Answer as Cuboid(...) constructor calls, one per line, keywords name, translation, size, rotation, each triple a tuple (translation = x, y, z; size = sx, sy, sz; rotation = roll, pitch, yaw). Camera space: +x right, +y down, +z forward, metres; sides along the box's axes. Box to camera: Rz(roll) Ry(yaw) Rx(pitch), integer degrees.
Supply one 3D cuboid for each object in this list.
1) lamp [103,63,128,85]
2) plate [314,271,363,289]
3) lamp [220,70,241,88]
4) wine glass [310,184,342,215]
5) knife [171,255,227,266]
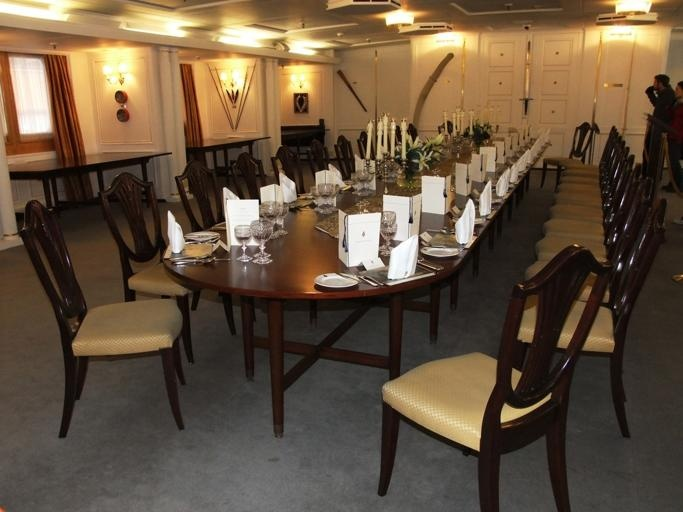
Cuboid(name="lamp", translation=(-3.983, -3.194, 9.128), size=(0.559, 0.357, 0.119), rotation=(7, 21, 30))
Cuboid(name="plate", translation=(-0.024, 0.134, 2.737), size=(0.242, 0.035, 0.187), rotation=(-5, 20, -2))
Cuboid(name="lamp", translation=(-2.572, -4.122, 11.943), size=(0.549, 0.514, 0.304), rotation=(6, 18, 18))
Cuboid(name="wine glass", translation=(-0.112, -0.477, 4.092), size=(0.210, 0.258, 0.233), rotation=(2, 20, 7))
Cuboid(name="knife", translation=(-0.860, 0.026, 3.076), size=(0.211, 0.034, 0.133), rotation=(2, 16, 0))
